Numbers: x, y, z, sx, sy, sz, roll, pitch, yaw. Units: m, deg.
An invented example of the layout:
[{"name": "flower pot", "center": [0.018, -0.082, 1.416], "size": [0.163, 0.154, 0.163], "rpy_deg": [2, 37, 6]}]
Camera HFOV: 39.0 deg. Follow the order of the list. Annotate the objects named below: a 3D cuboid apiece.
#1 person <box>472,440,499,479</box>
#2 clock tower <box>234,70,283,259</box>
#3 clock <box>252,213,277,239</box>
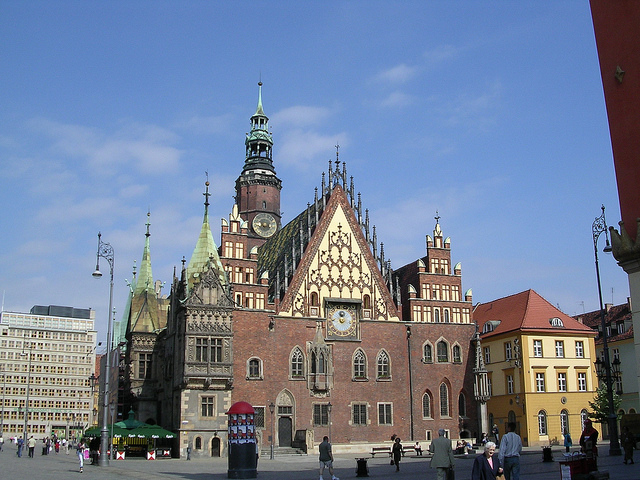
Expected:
[{"name": "person", "center": [7.170, 9.509, 39.169], "size": [1.167, 1.602, 0.648], "rpy_deg": [2, -18, -8]}, {"name": "clock tower", "center": [-6.810, -7.445, 101.578], "size": [4.472, 17.813, 2.758], "rpy_deg": [3, -17, -10]}, {"name": "clock", "center": [-6.301, -1.556, 100.419], "size": [2.104, 2.103, 0.287], "rpy_deg": [-42, -2, -36]}]
